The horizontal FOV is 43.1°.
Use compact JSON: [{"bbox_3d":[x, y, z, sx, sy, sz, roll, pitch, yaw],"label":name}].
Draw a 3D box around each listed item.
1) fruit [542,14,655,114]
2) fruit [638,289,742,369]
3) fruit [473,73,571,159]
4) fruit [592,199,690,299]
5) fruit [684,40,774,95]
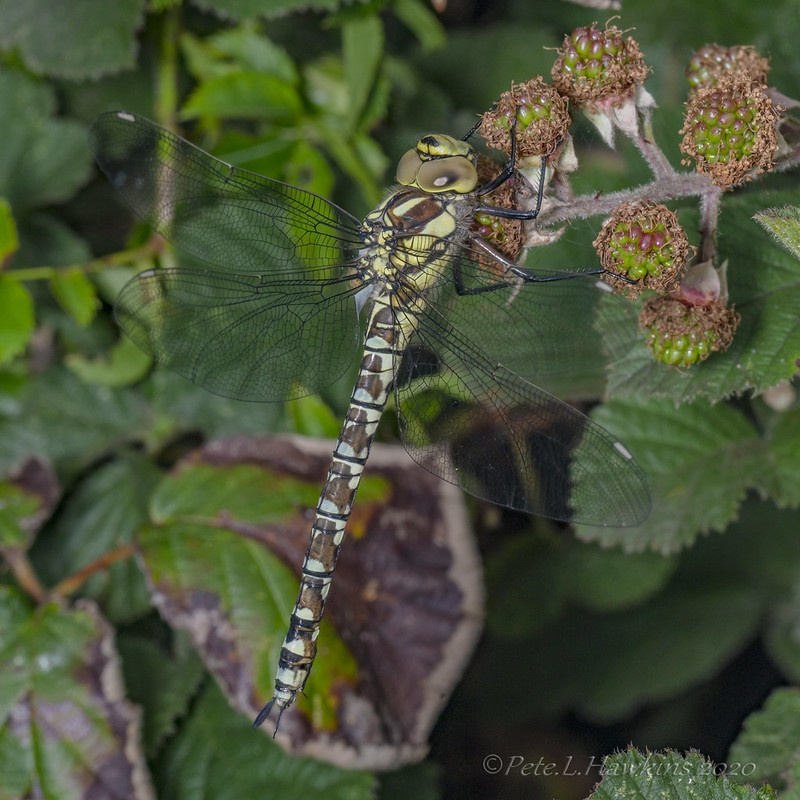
[{"bbox_3d":[0.299,-0.542,1.655,0.171,0.167,0.077,5,87,-16],"label":"fruit"},{"bbox_3d":[0.478,-0.113,1.676,0.159,0.094,0.104,7,82,4],"label":"fruit"},{"bbox_3d":[0.210,-0.454,1.636,0.163,0.076,0.117,-21,89,20],"label":"fruit"},{"bbox_3d":[0.390,-0.238,1.612,0.163,0.089,0.140,-11,95,24],"label":"fruit"},{"bbox_3d":[0.553,-0.558,1.701,0.173,0.064,0.103,-6,35,-2],"label":"fruit"}]
